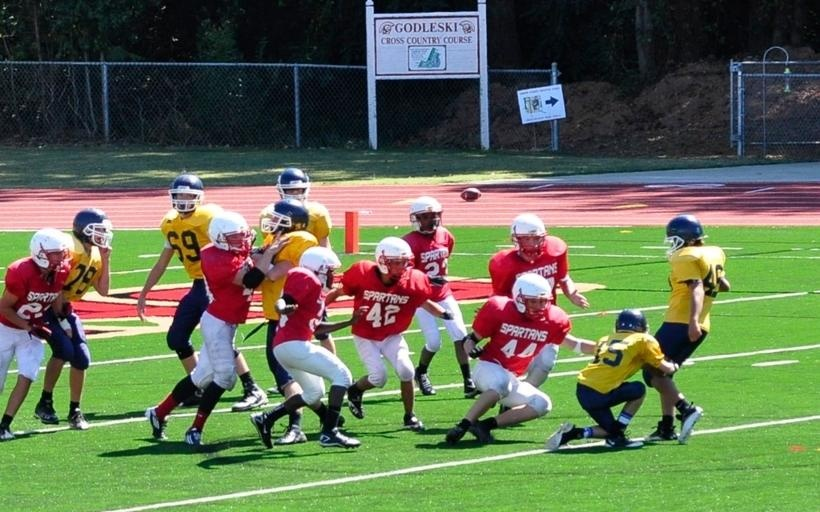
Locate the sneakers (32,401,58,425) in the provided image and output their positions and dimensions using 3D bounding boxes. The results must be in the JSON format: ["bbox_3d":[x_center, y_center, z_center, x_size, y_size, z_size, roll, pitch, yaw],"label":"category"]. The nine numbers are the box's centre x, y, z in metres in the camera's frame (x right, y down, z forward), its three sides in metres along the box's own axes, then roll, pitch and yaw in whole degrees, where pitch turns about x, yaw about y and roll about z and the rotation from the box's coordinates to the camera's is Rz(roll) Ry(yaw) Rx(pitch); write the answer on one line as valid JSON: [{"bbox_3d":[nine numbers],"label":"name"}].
[{"bbox_3d":[-4.204,1.842,13.048,0.160,0.185,0.417,0,5,-43],"label":"sneakers"}]

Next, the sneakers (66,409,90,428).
[{"bbox_3d":[-3.781,1.896,12.917,0.156,0.123,0.294,-2,0,-37],"label":"sneakers"}]

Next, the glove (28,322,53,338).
[{"bbox_3d":[-4.208,0.864,12.835,0.244,0.113,0.176,13,0,24],"label":"glove"}]

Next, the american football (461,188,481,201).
[{"bbox_3d":[1.442,-1.477,27.181,0.440,0.242,0.341,0,8,27],"label":"american football"}]

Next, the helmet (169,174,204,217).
[{"bbox_3d":[-2.730,-0.777,13.972,0.420,0.393,0.507,-1,-1,-2],"label":"helmet"}]

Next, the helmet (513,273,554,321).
[{"bbox_3d":[1.318,0.425,12.509,0.395,0.368,0.491,-4,17,-39],"label":"helmet"}]

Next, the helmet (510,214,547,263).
[{"bbox_3d":[1.460,-0.255,13.512,0.446,0.530,0.577,-7,13,2],"label":"helmet"}]

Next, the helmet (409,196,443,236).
[{"bbox_3d":[0.226,-0.559,14.201,0.435,0.359,0.466,1,11,31],"label":"helmet"}]

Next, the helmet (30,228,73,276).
[{"bbox_3d":[-4.082,-0.091,12.742,0.496,0.356,0.374,20,10,20],"label":"helmet"}]

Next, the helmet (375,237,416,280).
[{"bbox_3d":[-0.191,0.014,12.729,0.488,0.366,0.388,7,8,44],"label":"helmet"}]

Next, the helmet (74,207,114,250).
[{"bbox_3d":[-3.755,-0.361,13.333,0.496,0.376,0.368,6,6,6],"label":"helmet"}]

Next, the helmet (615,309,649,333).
[{"bbox_3d":[2.454,0.728,12.449,0.248,0.221,0.312,7,6,20],"label":"helmet"}]

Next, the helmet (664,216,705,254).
[{"bbox_3d":[3.215,-0.269,12.992,0.527,0.461,0.386,-7,6,14],"label":"helmet"}]
